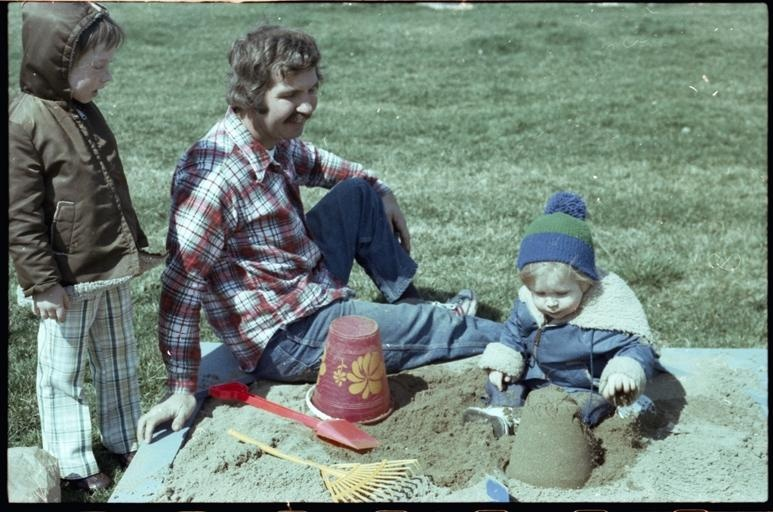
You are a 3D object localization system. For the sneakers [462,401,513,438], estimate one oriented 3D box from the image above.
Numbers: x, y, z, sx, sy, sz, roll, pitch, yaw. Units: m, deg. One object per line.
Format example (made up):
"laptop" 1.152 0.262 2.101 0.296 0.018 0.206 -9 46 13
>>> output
"sneakers" 0.678 1.046 6.762 0.164 0.164 0.361 -19 25 -21

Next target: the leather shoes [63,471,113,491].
"leather shoes" -2.005 1.517 6.740 0.223 0.064 0.138 1 8 -8

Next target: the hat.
"hat" 1.176 -0.135 6.901 0.513 0.667 0.665 -6 -13 32
